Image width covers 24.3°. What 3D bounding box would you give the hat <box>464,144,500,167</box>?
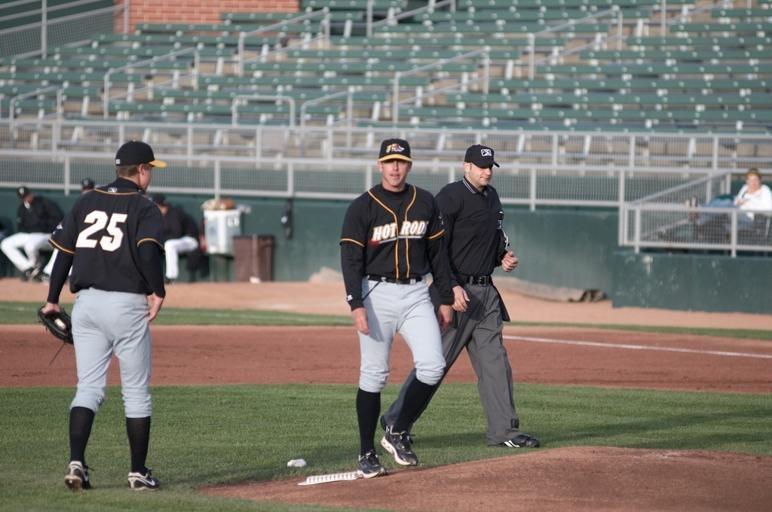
[{"bbox_3d":[1.607,-1.727,31.613,0.536,0.294,0.377,2,3,39],"label":"hat"}]

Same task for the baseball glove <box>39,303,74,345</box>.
[{"bbox_3d":[-5.643,1.202,30.815,0.670,0.499,0.219,32,48,9],"label":"baseball glove"}]

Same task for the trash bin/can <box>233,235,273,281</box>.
[{"bbox_3d":[-2.901,0.095,39.252,0.929,0.991,0.528,0,-1,-9],"label":"trash bin/can"}]

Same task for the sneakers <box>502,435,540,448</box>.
[{"bbox_3d":[2.382,3.283,31.586,0.554,0.228,0.258,-5,-1,6],"label":"sneakers"}]
